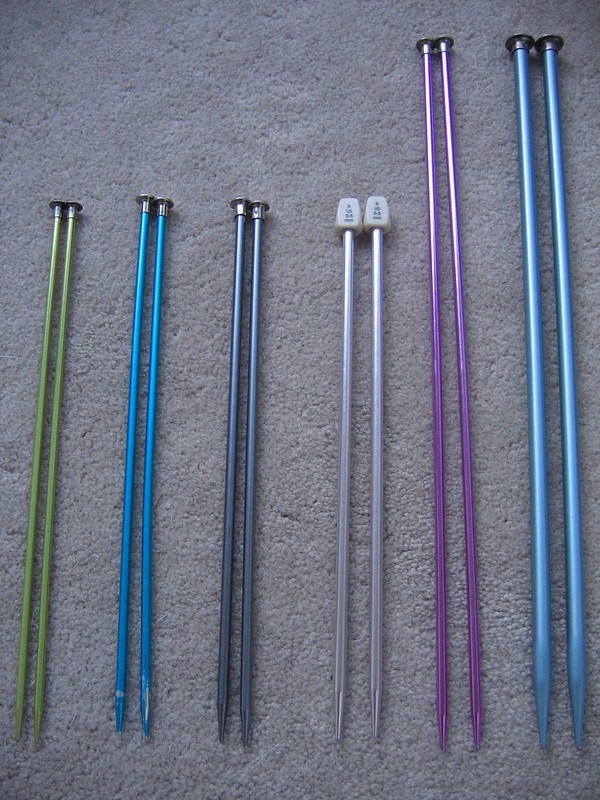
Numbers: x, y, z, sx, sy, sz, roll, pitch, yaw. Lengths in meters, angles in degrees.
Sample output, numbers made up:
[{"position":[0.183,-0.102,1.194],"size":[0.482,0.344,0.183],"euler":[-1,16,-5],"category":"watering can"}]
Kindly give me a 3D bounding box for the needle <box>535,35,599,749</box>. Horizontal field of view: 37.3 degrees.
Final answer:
[{"position":[0.347,-0.030,1.152],"size":[0.035,0.875,0.037],"euler":[-1,-12,12],"category":"needle"}]

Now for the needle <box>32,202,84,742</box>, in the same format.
[{"position":[-0.327,0.095,1.200],"size":[0.037,0.585,0.033],"euler":[-2,-8,16],"category":"needle"}]

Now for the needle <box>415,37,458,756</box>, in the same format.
[{"position":[0.176,-0.047,1.195],"size":[0.042,0.907,0.342],"euler":[1,8,6],"category":"needle"}]

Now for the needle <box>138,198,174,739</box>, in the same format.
[{"position":[-0.194,0.069,1.206],"size":[0.053,0.684,0.258],"euler":[-1,8,-8],"category":"needle"}]

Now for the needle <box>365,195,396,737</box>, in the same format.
[{"position":[0.097,0.067,1.174],"size":[0.036,0.672,0.252],"euler":[1,8,5],"category":"needle"}]
